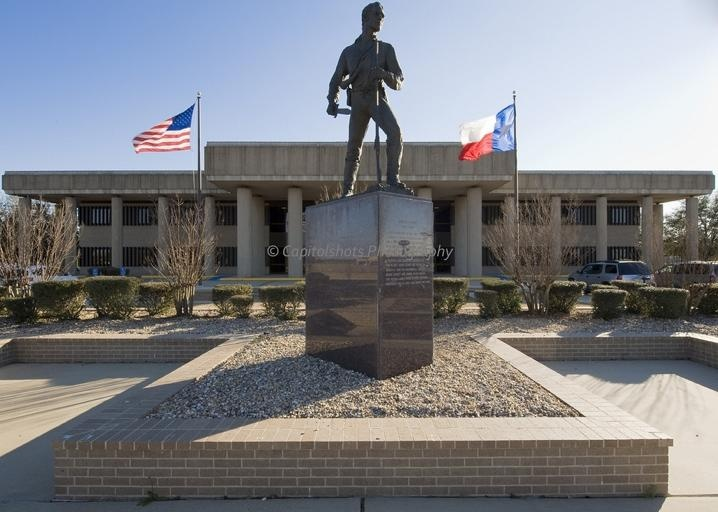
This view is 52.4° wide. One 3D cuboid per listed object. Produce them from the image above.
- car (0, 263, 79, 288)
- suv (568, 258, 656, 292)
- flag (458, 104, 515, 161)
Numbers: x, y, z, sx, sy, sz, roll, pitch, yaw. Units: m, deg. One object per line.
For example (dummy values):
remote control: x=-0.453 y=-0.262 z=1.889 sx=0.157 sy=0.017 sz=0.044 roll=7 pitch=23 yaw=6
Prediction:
car: x=-11.329 y=0.644 z=25.769 sx=2.125 sy=0.699 sz=7.849 roll=-4 pitch=1 yaw=-20
suv: x=10.551 y=0.727 z=31.019 sx=1.626 sy=1.469 sz=3.472 roll=1 pitch=3 yaw=-21
flag: x=5.155 y=-4.944 z=29.061 sx=2.132 sy=1.987 sz=1.689 roll=-3 pitch=1 yaw=13
